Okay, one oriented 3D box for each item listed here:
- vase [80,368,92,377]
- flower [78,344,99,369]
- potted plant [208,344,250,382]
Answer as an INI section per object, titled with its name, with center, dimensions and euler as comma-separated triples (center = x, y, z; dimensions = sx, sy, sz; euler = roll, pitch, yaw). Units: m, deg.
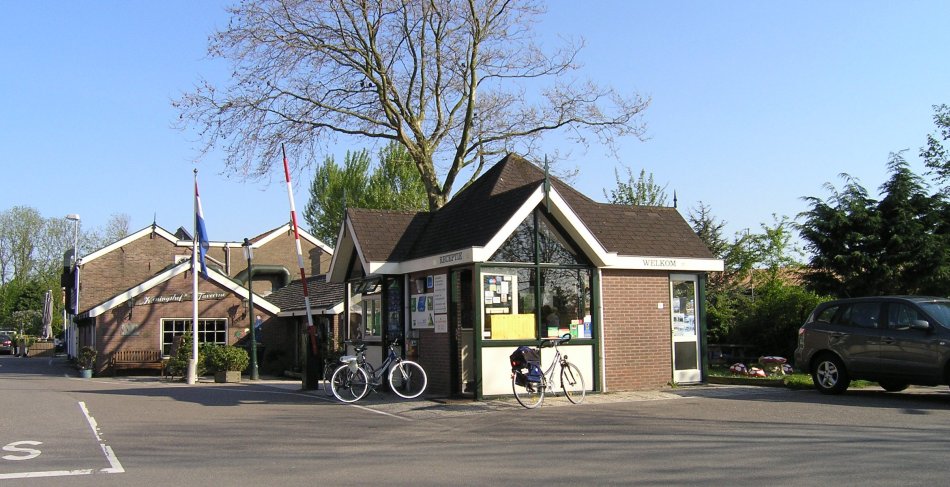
[vase]
center = -20.184, 6.678, 42.856
dimensions = 0.464, 0.316, 0.463
euler = -5, -8, 34
[flower]
center = -20.370, 6.028, 43.574
dimensions = 0.712, 1.210, 1.192
euler = 6, -13, -33
[potted plant]
center = -12.070, 5.777, 40.162
dimensions = 1.661, 1.798, 1.930
euler = 0, -1, -23
